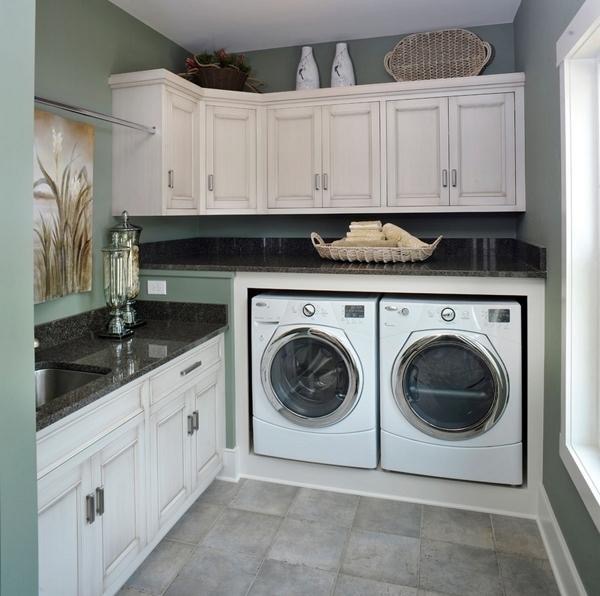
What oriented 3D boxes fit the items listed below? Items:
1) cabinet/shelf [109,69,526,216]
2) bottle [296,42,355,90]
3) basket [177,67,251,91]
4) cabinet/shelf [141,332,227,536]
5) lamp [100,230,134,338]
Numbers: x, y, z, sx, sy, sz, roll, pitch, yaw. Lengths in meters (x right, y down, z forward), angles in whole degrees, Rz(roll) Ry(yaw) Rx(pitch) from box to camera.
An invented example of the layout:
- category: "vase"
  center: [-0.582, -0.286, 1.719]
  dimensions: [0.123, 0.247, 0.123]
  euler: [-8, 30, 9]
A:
- category: "cabinet/shelf"
  center: [0.104, -0.826, 3.019]
  dimensions: [2.140, 0.704, 0.573]
  euler: [-1, 8, -5]
- category: "bottle"
  center: [0.166, -1.405, 3.300]
  dimensions: [0.339, 0.340, 0.136]
  euler: [-1, -1, 16]
- category: "basket"
  center: [-0.484, -1.229, 3.068]
  dimensions: [0.204, 0.088, 0.231]
  euler: [7, 14, 23]
- category: "cabinet/shelf"
  center: [-0.497, 0.574, 2.301]
  dimensions: [0.240, 0.685, 0.697]
  euler: [0, 5, 10]
- category: "lamp"
  center: [-0.847, -0.047, 2.565]
  dimensions: [0.136, 0.413, 0.277]
  euler: [-3, 8, -20]
